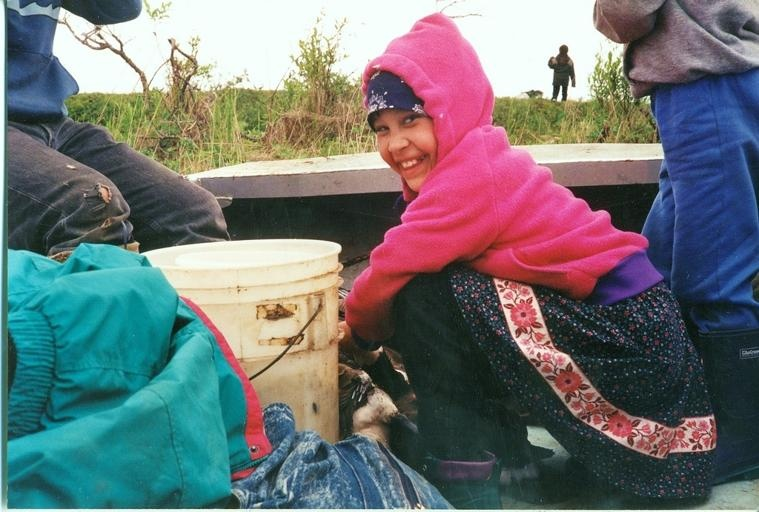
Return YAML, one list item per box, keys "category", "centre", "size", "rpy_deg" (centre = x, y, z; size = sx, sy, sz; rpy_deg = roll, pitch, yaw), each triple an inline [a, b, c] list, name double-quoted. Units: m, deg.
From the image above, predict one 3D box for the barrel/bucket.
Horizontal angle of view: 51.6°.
- category: "barrel/bucket"
  centre: [-0.393, 0.236, 2.792]
  size: [0.672, 0.688, 0.651]
  rpy_deg: [-1, 0, 0]

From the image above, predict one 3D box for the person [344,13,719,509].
- category: "person"
  centre: [0.420, -0.003, 2.481]
  size: [1.120, 1.561, 0.424]
  rpy_deg: [-3, 10, 22]
